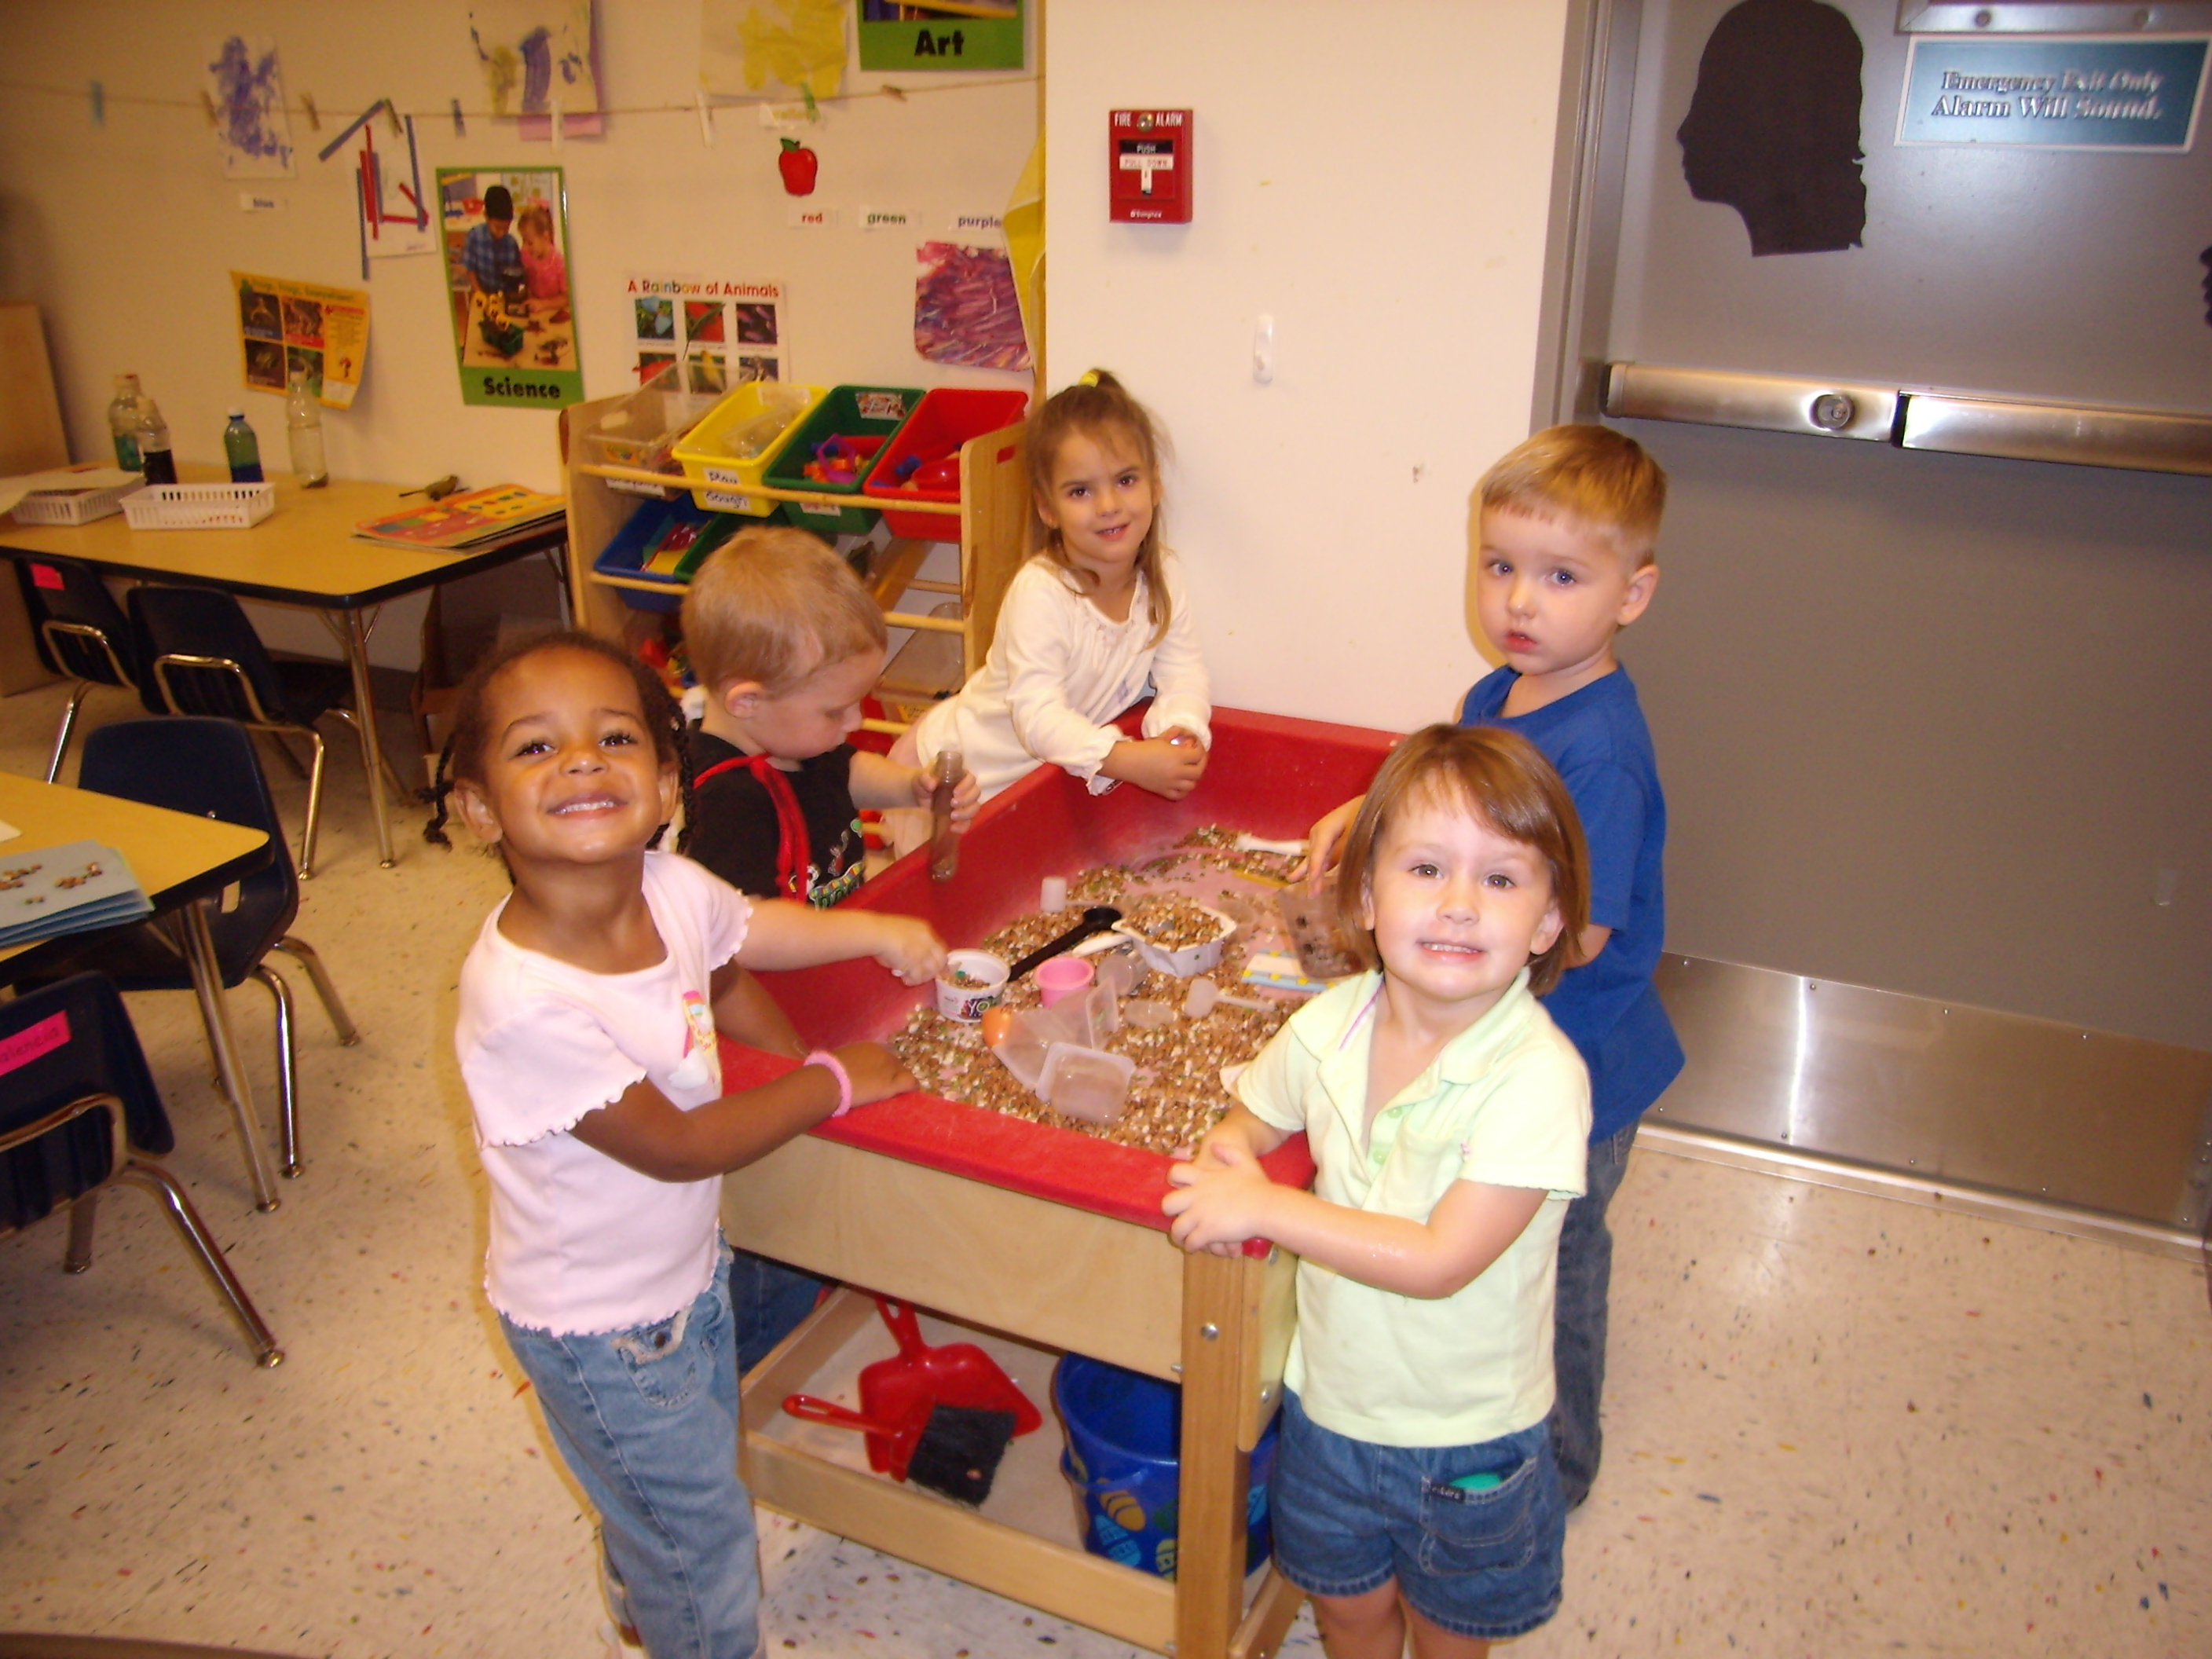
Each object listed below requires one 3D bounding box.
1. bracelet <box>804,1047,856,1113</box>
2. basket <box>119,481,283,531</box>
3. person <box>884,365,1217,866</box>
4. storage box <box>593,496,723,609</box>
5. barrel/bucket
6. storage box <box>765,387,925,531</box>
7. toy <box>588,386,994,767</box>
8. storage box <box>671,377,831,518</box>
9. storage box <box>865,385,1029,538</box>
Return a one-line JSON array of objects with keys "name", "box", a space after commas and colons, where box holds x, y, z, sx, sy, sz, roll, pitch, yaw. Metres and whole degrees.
[{"name": "bracelet", "box": [-0.315, 0.290, 1.900, 0.017, 0.064, 0.063, -23, 71, -15]}, {"name": "basket", "box": [-2.510, -0.909, 4.480, 0.265, 0.062, 0.182, -3, 24, -8]}, {"name": "person", "box": [-0.060, -0.287, 3.063, 0.432, 1.128, 0.764, -10, 31, -21]}, {"name": "storage box", "box": [-1.136, -0.730, 4.190, 0.240, 0.125, 0.338, 11, 57, 24]}, {"name": "barrel/bucket", "box": [0.071, 0.856, 2.205, 0.275, 0.182, 0.268, -3, 16, 1]}, {"name": "storage box", "box": [-0.639, -0.877, 4.033, 0.281, 0.155, 0.445, 6, 49, 21]}, {"name": "toy", "box": [-0.630, -0.559, 3.262, 0.919, 0.559, 0.382, 16, 29, 16]}, {"name": "storage box", "box": [-0.873, -0.972, 4.039, 0.274, 0.161, 0.419, 10, 45, 18]}, {"name": "storage box", "box": [-0.396, -0.853, 3.898, 0.306, 0.161, 0.460, 9, 51, 14]}]
